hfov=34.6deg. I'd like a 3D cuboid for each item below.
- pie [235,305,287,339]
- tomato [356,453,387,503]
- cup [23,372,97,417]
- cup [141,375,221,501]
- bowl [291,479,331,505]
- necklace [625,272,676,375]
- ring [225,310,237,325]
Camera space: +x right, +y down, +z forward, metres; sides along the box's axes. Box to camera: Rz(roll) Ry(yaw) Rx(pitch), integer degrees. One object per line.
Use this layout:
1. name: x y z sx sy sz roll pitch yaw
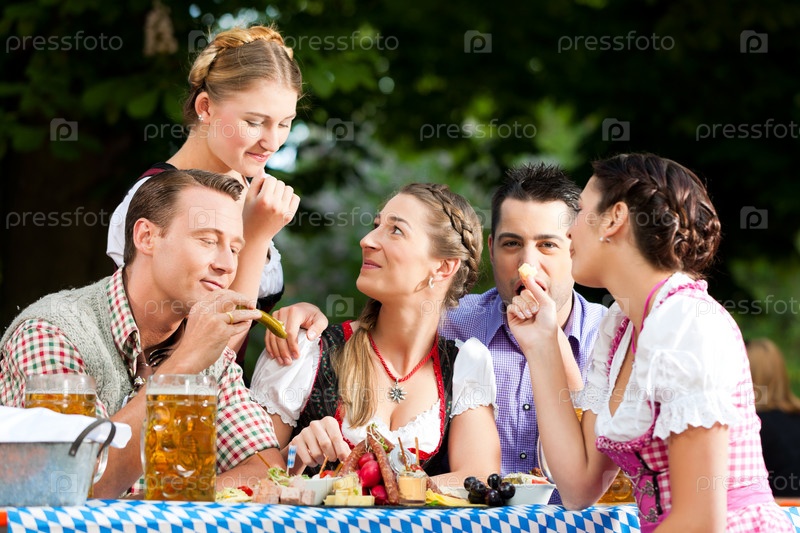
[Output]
1. pie: -0.545 0.222 5.260 0.078 0.084 0.295 -10 -31 29
2. tomato: -0.107 0.841 5.089 0.079 0.191 0.103 -23 -7 -27
3. cup: -1.354 0.490 5.136 0.195 0.132 0.203 1 -3 0
4. cup: -0.873 0.643 5.098 0.290 0.510 0.300 3 11 -1
5. bowl: -0.344 0.873 5.020 0.101 0.074 0.102 0 -2 0
6. necklace: 0.967 0.235 5.248 0.245 0.349 0.092 23 11 -18
7. ring: -0.687 0.204 5.220 0.041 0.056 0.020 6 -6 -39
